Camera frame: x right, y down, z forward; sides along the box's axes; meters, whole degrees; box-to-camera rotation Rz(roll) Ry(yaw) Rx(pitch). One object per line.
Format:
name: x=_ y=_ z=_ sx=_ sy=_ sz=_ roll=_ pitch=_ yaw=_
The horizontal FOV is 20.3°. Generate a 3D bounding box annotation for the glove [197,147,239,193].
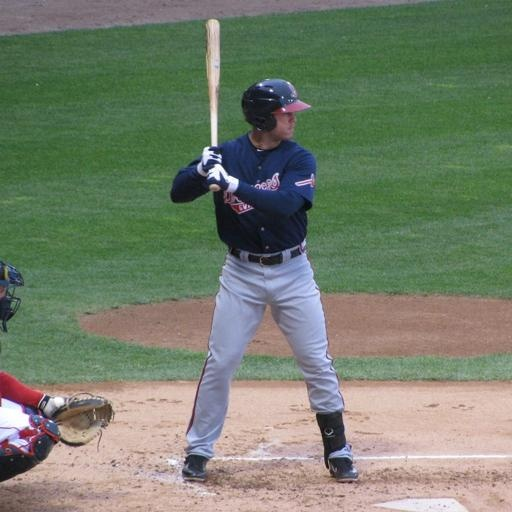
glove: x=-0.387 y=-0.876 z=14.563 sx=0.462 sy=0.439 sz=0.147 roll=8 pitch=-30 yaw=-29

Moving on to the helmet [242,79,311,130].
helmet: x=0.168 y=-1.563 z=14.768 sx=0.711 sy=0.427 sz=0.445 roll=-2 pitch=13 yaw=11
